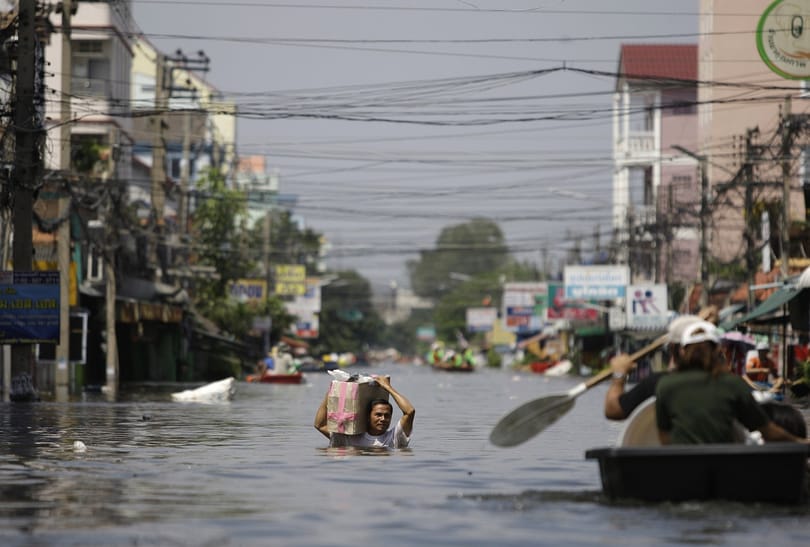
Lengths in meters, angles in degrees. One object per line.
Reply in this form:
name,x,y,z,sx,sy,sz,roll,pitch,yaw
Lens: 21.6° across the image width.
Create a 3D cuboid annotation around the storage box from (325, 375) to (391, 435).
storage box,-2.300,3.794,59.020,1.145,1.373,1.903,7,-5,-39
